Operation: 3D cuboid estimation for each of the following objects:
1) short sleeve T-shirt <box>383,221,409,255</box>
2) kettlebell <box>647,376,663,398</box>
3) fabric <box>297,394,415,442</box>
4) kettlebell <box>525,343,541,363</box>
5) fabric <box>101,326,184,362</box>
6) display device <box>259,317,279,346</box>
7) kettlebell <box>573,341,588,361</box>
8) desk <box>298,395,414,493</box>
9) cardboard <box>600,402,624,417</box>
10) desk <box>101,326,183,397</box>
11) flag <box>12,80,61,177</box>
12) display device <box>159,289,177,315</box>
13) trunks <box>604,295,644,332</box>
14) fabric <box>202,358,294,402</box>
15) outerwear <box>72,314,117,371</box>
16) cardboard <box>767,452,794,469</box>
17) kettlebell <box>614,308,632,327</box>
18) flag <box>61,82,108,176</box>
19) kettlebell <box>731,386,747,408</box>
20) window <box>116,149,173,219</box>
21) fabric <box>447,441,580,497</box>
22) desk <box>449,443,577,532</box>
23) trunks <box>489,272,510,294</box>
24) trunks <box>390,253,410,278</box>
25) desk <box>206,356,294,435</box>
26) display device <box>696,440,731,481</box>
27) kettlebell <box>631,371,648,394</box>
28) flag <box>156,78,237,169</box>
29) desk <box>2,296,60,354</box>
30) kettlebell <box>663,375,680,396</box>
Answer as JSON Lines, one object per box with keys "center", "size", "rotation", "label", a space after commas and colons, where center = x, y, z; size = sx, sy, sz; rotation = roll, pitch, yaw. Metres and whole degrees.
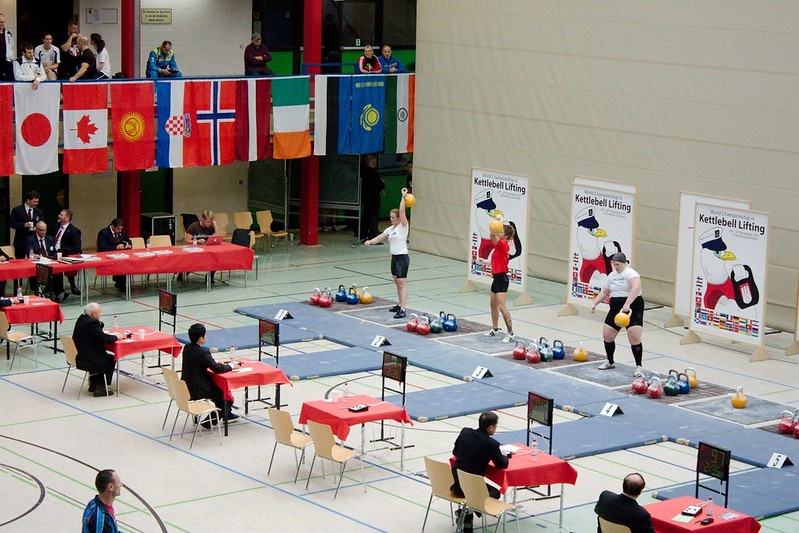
{"center": [-0.074, -0.660, 22.972], "size": [0.479, 0.680, 0.470], "rotation": [-1, 6, -6], "label": "short sleeve T-shirt"}
{"center": [4.919, 2.306, 19.120], "size": [0.266, 0.407, 0.376], "rotation": [2, 7, 21], "label": "kettlebell"}
{"center": [-0.680, 2.343, 16.037], "size": [1.049, 0.250, 1.029], "rotation": [-4, 10, -34], "label": "fabric"}
{"center": [2.776, 1.790, 20.669], "size": [0.269, 0.474, 0.345], "rotation": [-9, 12, -42], "label": "kettlebell"}
{"center": [-4.826, 1.434, 18.751], "size": [0.823, 0.321, 0.834], "rotation": [-6, 12, -40], "label": "fabric"}
{"center": [-2.366, 1.201, 18.144], "size": [0.203, 0.466, 0.529], "rotation": [-5, 8, -40], "label": "display device"}
{"center": [3.792, 1.748, 20.971], "size": [0.364, 0.503, 0.360], "rotation": [-3, 9, 2], "label": "kettlebell"}
{"center": [-0.815, 2.858, 16.319], "size": [1.439, 1.014, 1.379], "rotation": [-2, 5, -29], "label": "desk"}
{"center": [3.865, 2.595, 18.175], "size": [0.248, 0.124, 0.302], "rotation": [-6, 5, -30], "label": "cardboard"}
{"center": [-4.902, 1.847, 19.002], "size": [1.320, 0.813, 1.296], "rotation": [-4, 8, -38], "label": "desk"}
{"center": [-8.842, -3.414, 24.238], "size": [1.157, 2.209, 0.535], "rotation": [-3, 7, -28], "label": "flag"}
{"center": [-4.675, 0.720, 19.971], "size": [0.106, 0.527, 0.619], "rotation": [-12, 14, -42], "label": "display device"}
{"center": [4.476, 0.917, 19.752], "size": [0.891, 0.819, 0.346], "rotation": [2, -2, 4], "label": "trunks"}
{"center": [-2.637, 1.920, 17.334], "size": [0.856, 0.200, 0.860], "rotation": [-8, 16, -31], "label": "fabric"}
{"center": [-5.674, 1.418, 18.448], "size": [0.734, 1.127, 0.380], "rotation": [-2, 6, -18], "label": "outerwear"}
{"center": [6.288, 3.216, 16.475], "size": [0.254, 0.122, 0.312], "rotation": [-4, 2, -31], "label": "cardboard"}
{"center": [4.373, 1.035, 19.516], "size": [0.316, 0.365, 0.398], "rotation": [1, 6, 12], "label": "kettlebell"}
{"center": [-7.877, -3.538, 24.910], "size": [1.136, 2.210, 0.479], "rotation": [-3, 7, -23], "label": "flag"}
{"center": [6.366, 2.431, 18.630], "size": [0.281, 0.418, 0.359], "rotation": [2, 7, 20], "label": "kettlebell"}
{"center": [-7.170, -2.361, 27.625], "size": [1.887, 2.125, 0.131], "rotation": [-3, 10, -34], "label": "window"}
{"center": [1.887, 2.964, 14.444], "size": [0.950, 0.231, 0.986], "rotation": [-1, 6, -23], "label": "fabric"}
{"center": [1.818, 2.983, 14.726], "size": [1.304, 0.995, 1.487], "rotation": [1, 4, -27], "label": "desk"}
{"center": [2.230, 0.344, 21.536], "size": [0.384, 0.527, 0.510], "rotation": [5, -3, -29], "label": "trunks"}
{"center": [-0.032, -0.065, 23.226], "size": [0.498, 0.751, 0.540], "rotation": [1, 11, -9], "label": "trunks"}
{"center": [-2.654, 2.306, 17.516], "size": [1.222, 0.742, 1.439], "rotation": [-4, 7, -37], "label": "desk"}
{"center": [4.405, 2.730, 13.923], "size": [0.176, 0.504, 0.506], "rotation": [-6, 8, -42], "label": "display device"}
{"center": [4.655, 2.235, 19.274], "size": [0.309, 0.444, 0.338], "rotation": [1, 6, 13], "label": "kettlebell"}
{"center": [-5.506, -3.944, 26.515], "size": [2.283, 2.168, 0.181], "rotation": [-12, 21, -30], "label": "flag"}
{"center": [-7.637, 1.093, 20.473], "size": [1.200, 0.866, 1.202], "rotation": [-2, 7, -36], "label": "desk"}
{"center": [5.247, 2.294, 19.167], "size": [0.263, 0.447, 0.320], "rotation": [-10, 14, -37], "label": "kettlebell"}
